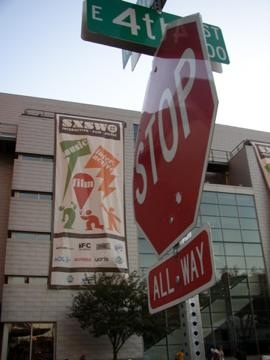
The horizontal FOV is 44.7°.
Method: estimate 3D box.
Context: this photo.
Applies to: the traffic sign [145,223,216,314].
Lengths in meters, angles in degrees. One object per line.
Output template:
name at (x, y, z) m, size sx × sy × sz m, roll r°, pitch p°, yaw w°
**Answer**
traffic sign at (0.170, 0.388, 1.326) m, size 0.020 × 0.236 × 0.433 m, roll 19°, pitch -42°, yaw -24°
